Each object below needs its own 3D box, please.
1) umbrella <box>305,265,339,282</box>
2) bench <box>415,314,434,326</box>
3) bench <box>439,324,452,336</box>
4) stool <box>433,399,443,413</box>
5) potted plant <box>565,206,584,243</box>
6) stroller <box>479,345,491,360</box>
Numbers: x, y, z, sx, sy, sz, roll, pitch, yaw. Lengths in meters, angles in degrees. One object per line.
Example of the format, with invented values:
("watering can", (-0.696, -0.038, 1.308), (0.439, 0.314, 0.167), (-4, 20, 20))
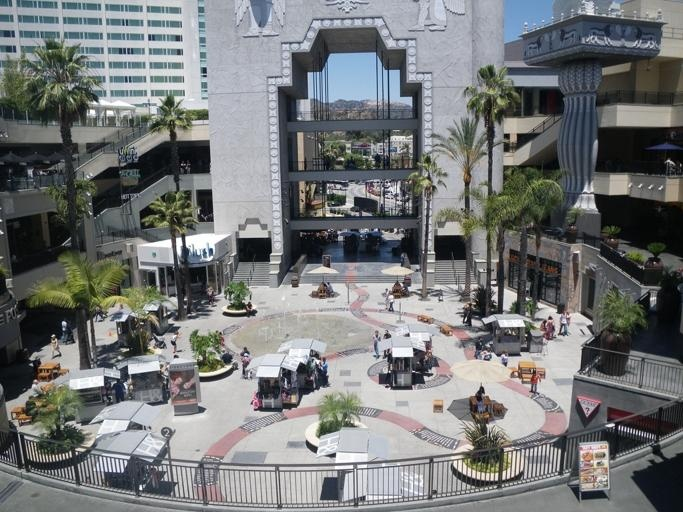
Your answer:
("umbrella", (-1.966, 1.390, 70.415), (2.077, 0.971, 1.995), (-11, 15, -41))
("bench", (6.856, 5.142, 56.519), (1.293, 0.569, 1.267), (1, 8, 9))
("bench", (8.163, 5.726, 54.499), (0.569, 0.315, 0.817), (-2, 15, -13))
("stool", (6.000, 9.248, 43.341), (0.747, 0.847, 0.579), (-1, -5, 2))
("potted plant", (19.062, -2.568, 57.447), (1.152, 2.828, 2.128), (2, 8, 19))
("stroller", (10.202, 6.885, 49.727), (0.788, 0.431, 1.062), (7, -31, 0))
